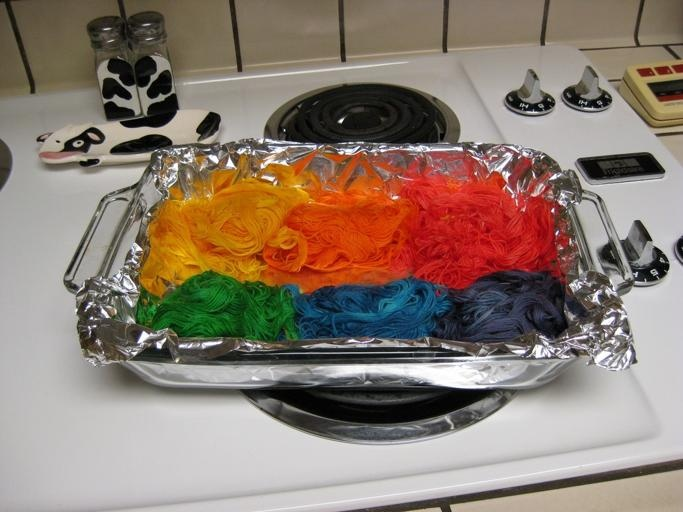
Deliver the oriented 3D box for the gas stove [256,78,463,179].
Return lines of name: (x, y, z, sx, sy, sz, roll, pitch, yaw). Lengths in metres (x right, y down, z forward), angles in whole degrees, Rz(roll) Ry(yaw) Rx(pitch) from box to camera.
gas stove: (0.051, -0.388, 1.447, 0.484, 0.052, 0.477, -3, -2, -11)

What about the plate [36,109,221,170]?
plate: (-0.497, -0.273, 1.343, 0.433, 0.063, 0.176, -8, 56, -8)

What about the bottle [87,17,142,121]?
bottle: (-0.564, -0.466, 1.325, 0.100, 0.239, 0.087, -12, 37, -14)
